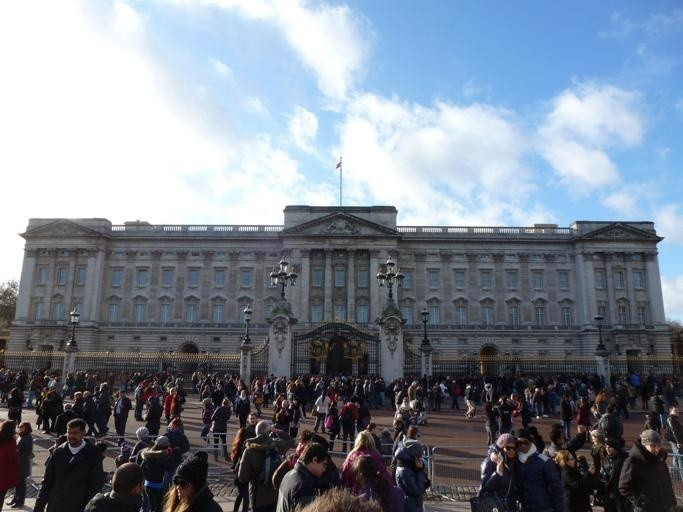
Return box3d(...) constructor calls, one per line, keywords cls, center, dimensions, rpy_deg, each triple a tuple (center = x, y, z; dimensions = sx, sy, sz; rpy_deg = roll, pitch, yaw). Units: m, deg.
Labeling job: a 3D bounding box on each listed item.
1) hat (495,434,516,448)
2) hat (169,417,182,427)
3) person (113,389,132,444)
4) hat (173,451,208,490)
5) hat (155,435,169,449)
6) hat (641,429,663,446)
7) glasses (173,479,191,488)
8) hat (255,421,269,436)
box3d(cls="hat", center=(2.923, 3.297, 9.325), dimensions=(0.291, 0.253, 0.216), rpy_deg=(-9, 3, -17))
box3d(cls="hat", center=(-3.963, 3.964, 12.645), dimensions=(0.298, 0.197, 0.421), rpy_deg=(1, -7, 10))
box3d(cls="person", center=(-8.129, 5.810, 19.421), dimensions=(0.490, 1.650, 1.432), rpy_deg=(6, -14, -22))
box3d(cls="hat", center=(-2.025, 2.912, 7.216), dimensions=(0.425, 0.504, 0.588), rpy_deg=(7, -25, 12))
box3d(cls="hat", center=(-3.592, 3.736, 10.577), dimensions=(0.191, 0.137, 0.256), rpy_deg=(4, 0, 20))
box3d(cls="hat", center=(5.598, 3.307, 9.624), dimensions=(0.251, 0.269, 0.337), rpy_deg=(-3, -21, -19))
box3d(cls="glasses", center=(-2.120, 3.005, 6.943), dimensions=(0.259, 0.099, 0.082), rpy_deg=(-4, -14, 19))
box3d(cls="hat", center=(-1.523, 3.329, 10.099), dimensions=(0.233, 0.307, 0.300), rpy_deg=(3, 5, 3))
